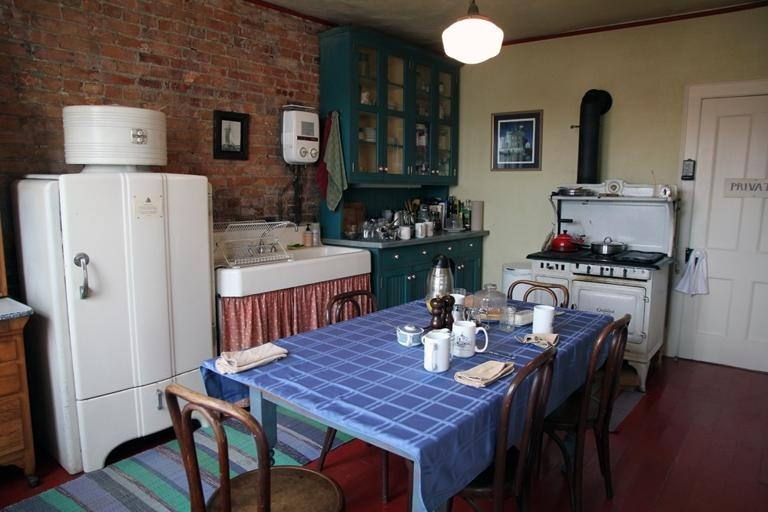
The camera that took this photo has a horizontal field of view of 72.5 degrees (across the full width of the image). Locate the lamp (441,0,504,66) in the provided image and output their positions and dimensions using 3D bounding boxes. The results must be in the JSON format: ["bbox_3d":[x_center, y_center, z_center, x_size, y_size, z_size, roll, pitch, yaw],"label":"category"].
[{"bbox_3d":[0.536,-1.350,3.386,0.416,0.412,0.419,1,-4,-1],"label":"lamp"}]

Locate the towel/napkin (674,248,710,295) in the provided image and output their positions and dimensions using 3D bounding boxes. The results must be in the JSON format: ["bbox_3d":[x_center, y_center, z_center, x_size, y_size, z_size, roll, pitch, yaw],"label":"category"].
[{"bbox_3d":[2.991,0.170,5.062,0.284,0.468,0.248,6,13,31],"label":"towel/napkin"}]

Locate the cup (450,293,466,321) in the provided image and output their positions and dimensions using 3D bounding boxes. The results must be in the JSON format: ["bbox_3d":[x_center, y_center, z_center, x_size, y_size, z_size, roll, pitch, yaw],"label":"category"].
[{"bbox_3d":[0.475,0.331,3.370,0.144,0.189,0.139,-1,4,0],"label":"cup"}]

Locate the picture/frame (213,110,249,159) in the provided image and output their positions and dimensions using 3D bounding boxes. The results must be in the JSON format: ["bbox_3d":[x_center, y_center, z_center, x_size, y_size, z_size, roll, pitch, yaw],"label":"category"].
[{"bbox_3d":[-1.359,-1.076,4.614,0.057,0.545,0.466,5,6,41],"label":"picture/frame"}]

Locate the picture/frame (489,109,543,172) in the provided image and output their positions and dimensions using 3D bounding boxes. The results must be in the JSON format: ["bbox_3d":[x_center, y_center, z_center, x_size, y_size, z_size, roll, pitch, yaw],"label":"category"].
[{"bbox_3d":[1.515,-1.311,5.874,0.722,0.758,0.028,5,11,33],"label":"picture/frame"}]

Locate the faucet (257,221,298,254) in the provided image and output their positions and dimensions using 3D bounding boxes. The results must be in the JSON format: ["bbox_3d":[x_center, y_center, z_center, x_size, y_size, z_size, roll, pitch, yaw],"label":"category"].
[{"bbox_3d":[-0.995,-0.190,4.855,0.295,0.211,0.290,-9,15,-44],"label":"faucet"}]

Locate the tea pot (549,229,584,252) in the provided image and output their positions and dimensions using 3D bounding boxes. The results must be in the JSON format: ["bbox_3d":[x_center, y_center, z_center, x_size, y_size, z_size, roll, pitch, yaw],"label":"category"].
[{"bbox_3d":[1.836,-0.163,5.188,0.314,0.137,0.197,-3,3,-44],"label":"tea pot"}]

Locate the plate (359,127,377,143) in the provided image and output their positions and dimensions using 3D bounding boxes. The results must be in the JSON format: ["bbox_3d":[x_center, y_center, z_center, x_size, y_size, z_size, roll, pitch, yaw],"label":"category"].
[{"bbox_3d":[-0.166,-1.214,5.273,0.161,0.113,0.158,-10,14,-38],"label":"plate"}]

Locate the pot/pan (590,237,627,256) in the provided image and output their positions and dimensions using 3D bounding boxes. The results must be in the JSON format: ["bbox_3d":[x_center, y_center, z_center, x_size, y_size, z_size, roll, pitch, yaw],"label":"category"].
[{"bbox_3d":[2.120,-0.128,4.915,0.202,0.118,0.237,-11,13,-38],"label":"pot/pan"}]

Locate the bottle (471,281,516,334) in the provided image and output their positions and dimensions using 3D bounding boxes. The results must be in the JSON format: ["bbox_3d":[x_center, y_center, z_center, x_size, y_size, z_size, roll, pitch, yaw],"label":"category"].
[{"bbox_3d":[0.729,0.347,3.478,0.287,0.296,0.290,0,1,10],"label":"bottle"}]

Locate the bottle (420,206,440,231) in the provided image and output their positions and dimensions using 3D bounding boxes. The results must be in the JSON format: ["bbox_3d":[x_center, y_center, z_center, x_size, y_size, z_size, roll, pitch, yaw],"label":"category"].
[{"bbox_3d":[0.548,-0.471,6.141,0.193,0.330,0.343,-1,-1,39],"label":"bottle"}]

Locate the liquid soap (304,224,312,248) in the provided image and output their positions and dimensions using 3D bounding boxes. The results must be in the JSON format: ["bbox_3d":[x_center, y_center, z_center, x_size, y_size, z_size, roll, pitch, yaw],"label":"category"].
[{"bbox_3d":[-0.746,-0.199,5.126,0.088,0.200,0.140,-2,11,-8],"label":"liquid soap"}]
